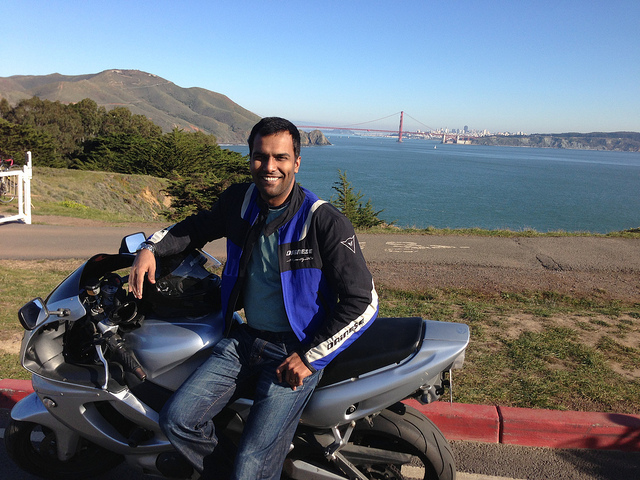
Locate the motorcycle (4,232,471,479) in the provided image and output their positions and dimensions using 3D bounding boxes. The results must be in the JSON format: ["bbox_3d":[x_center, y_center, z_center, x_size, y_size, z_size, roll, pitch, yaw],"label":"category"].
[{"bbox_3d":[-0.736,0.827,4.078,3.530,1.938,1.616,3,16,8],"label":"motorcycle"}]

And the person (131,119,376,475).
[{"bbox_3d":[-0.422,0.395,3.259,1.587,2.457,0.867,5,8,12],"label":"person"}]
